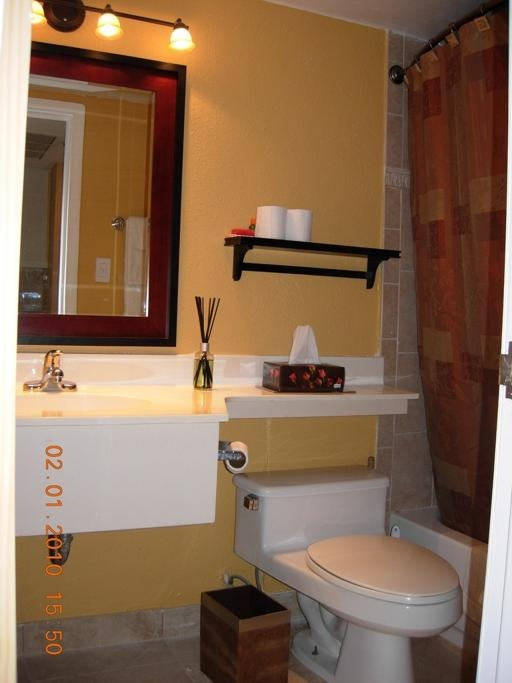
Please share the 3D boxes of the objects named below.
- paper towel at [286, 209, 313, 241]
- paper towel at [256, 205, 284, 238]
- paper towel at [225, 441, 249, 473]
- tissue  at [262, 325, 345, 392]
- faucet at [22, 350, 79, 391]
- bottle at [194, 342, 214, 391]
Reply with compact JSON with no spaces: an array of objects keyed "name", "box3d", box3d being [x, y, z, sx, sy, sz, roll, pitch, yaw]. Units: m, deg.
[{"name":"paper towel","box3d":[0.137,-0.371,1.818,0.079,0.111,0.089,6,9,34]},{"name":"paper towel","box3d":[0.045,-0.372,1.802,0.087,0.113,0.084,2,0,-37]},{"name":"paper towel","box3d":[-0.054,0.292,1.437,0.066,0.085,0.025,-9,2,-6]},{"name":"tissue ","box3d":[0.161,0.078,1.807,0.193,0.240,0.219,2,-1,-9]},{"name":"faucet","box3d":[-0.532,0.101,1.470,0.120,0.116,0.097,3,-7,-39]},{"name":"bottle","box3d":[-0.160,0.073,1.689,0.055,0.137,0.059,0,2,0]}]
